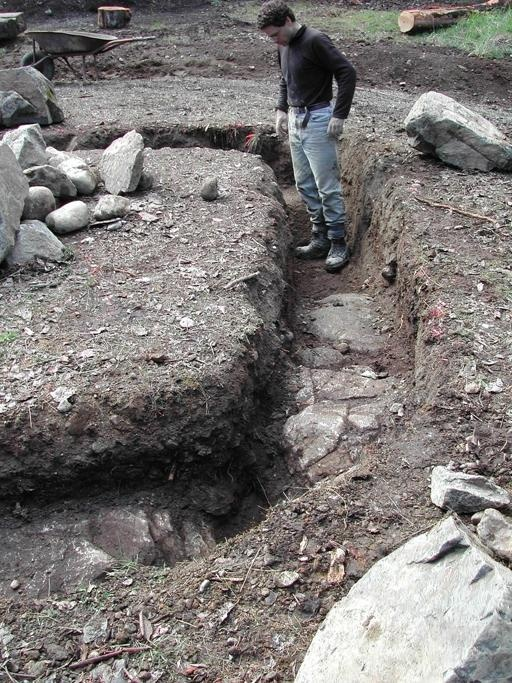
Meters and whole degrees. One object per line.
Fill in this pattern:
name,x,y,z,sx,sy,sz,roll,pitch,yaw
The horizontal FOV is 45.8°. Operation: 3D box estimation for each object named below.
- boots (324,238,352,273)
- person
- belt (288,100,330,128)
boots,0.712,-0.738,5.271,0.158,0.211,0.319,5,37,20
person,0.418,-1.423,4.645,0.616,2.049,0.889,-5,25,3
belt,0.386,-1.673,4.384,0.203,0.066,0.197,-21,35,11
